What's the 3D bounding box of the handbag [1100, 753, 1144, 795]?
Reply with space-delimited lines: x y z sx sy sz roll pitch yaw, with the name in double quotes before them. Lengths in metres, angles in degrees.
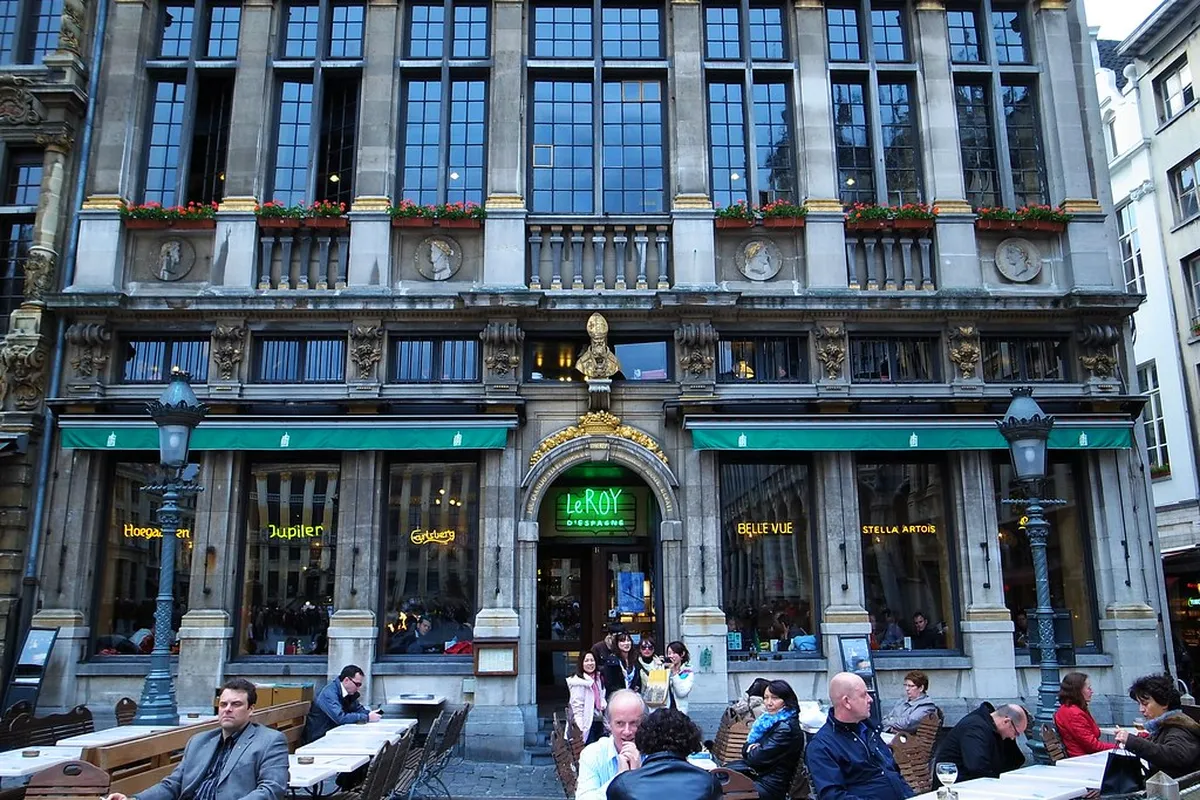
"handbag" 7.053 5.095 13.529 0.544 0.503 0.194 0 -16 1
